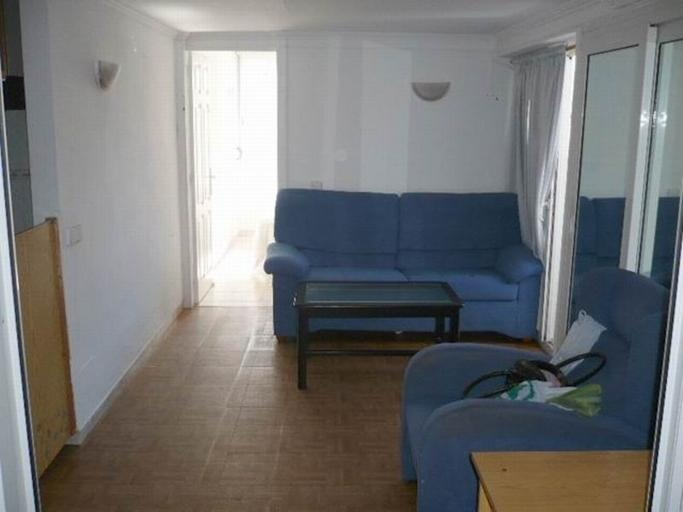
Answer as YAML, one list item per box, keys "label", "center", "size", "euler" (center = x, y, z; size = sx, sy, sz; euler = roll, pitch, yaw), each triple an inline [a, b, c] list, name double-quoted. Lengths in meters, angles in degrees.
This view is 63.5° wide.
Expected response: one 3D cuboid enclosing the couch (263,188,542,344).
- label: "couch"
  center: [0.535, 0.051, 4.879]
  size: [2.335, 1.234, 1.043]
  euler: [1, 9, 0]
